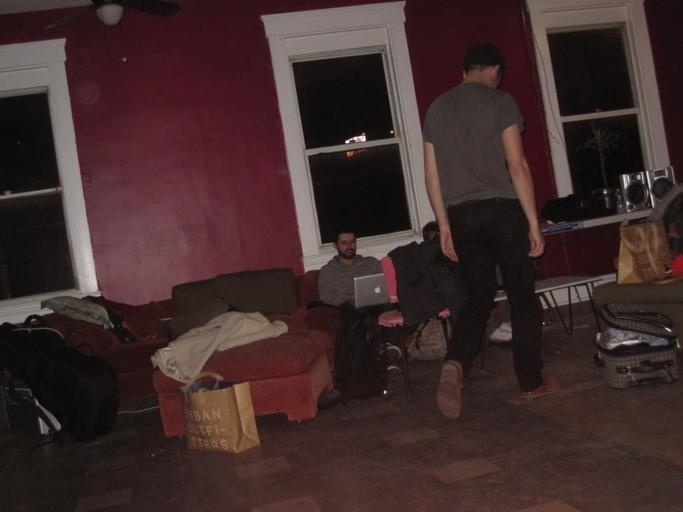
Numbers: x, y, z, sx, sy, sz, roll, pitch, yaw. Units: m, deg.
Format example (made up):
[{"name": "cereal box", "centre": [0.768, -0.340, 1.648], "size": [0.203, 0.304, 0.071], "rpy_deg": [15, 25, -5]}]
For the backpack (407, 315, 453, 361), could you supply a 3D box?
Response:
[{"name": "backpack", "centre": [0.736, 0.724, 4.735], "size": [0.361, 0.165, 0.423], "rpy_deg": [-23, 39, 26]}]

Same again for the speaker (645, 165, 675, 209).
[{"name": "speaker", "centre": [3.316, -0.718, 5.790], "size": [0.234, 0.398, 0.216], "rpy_deg": [1, 15, 37]}]

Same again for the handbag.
[{"name": "handbag", "centre": [2.141, -0.027, 3.918], "size": [0.375, 0.393, 0.178], "rpy_deg": [-10, -9, 20]}]

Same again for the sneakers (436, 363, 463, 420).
[{"name": "sneakers", "centre": [0.634, 0.770, 3.288], "size": [0.143, 0.337, 0.137], "rpy_deg": [0, -8, 13]}]

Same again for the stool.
[{"name": "stool", "centre": [-0.492, 0.803, 3.970], "size": [0.780, 0.395, 0.810], "rpy_deg": [-9, -10, -3]}]

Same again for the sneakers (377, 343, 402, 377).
[{"name": "sneakers", "centre": [0.388, 0.883, 4.678], "size": [0.217, 0.304, 0.283], "rpy_deg": [-7, -23, 5]}]

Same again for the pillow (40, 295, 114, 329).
[{"name": "pillow", "centre": [-2.170, 0.439, 4.593], "size": [0.410, 0.118, 0.321], "rpy_deg": [23, 3, -10]}]

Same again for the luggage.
[{"name": "luggage", "centre": [1.876, 0.563, 3.569], "size": [0.482, 0.356, 0.453], "rpy_deg": [-6, 13, 12]}]

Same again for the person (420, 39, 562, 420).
[{"name": "person", "centre": [0.845, -0.077, 3.278], "size": [0.658, 1.848, 0.660], "rpy_deg": [-5, 12, 15]}]

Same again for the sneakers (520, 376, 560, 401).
[{"name": "sneakers", "centre": [1.247, 0.828, 3.506], "size": [0.222, 0.058, 0.134], "rpy_deg": [-12, -1, 26]}]

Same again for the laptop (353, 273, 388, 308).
[{"name": "laptop", "centre": [0.199, 0.209, 4.170], "size": [0.272, 0.278, 0.220], "rpy_deg": [-6, 4, -16]}]
